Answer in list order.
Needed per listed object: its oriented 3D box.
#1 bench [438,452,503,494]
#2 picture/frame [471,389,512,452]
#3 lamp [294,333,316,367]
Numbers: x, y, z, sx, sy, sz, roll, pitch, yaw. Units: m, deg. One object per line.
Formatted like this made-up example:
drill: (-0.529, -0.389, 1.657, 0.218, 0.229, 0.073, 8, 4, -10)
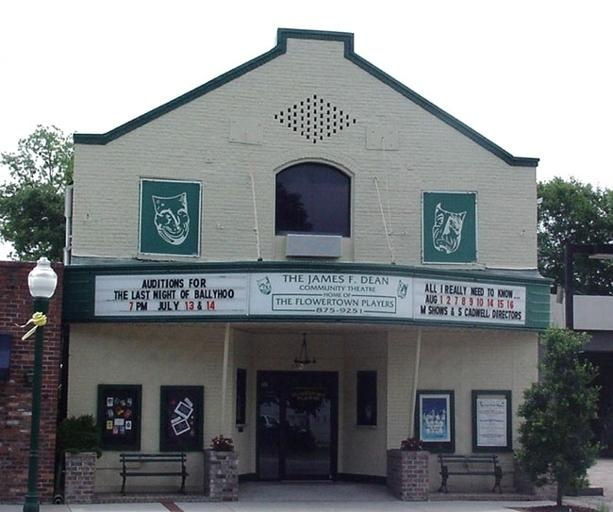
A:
bench: (4.486, 5.967, 33.560, 1.563, 1.110, 0.565, -1, -7, 1)
picture/frame: (5.132, 4.649, 34.021, 1.367, 2.303, 0.167, 1, -6, -5)
lamp: (0.057, 2.707, 35.146, 0.720, 0.931, 0.801, 0, -10, -2)
